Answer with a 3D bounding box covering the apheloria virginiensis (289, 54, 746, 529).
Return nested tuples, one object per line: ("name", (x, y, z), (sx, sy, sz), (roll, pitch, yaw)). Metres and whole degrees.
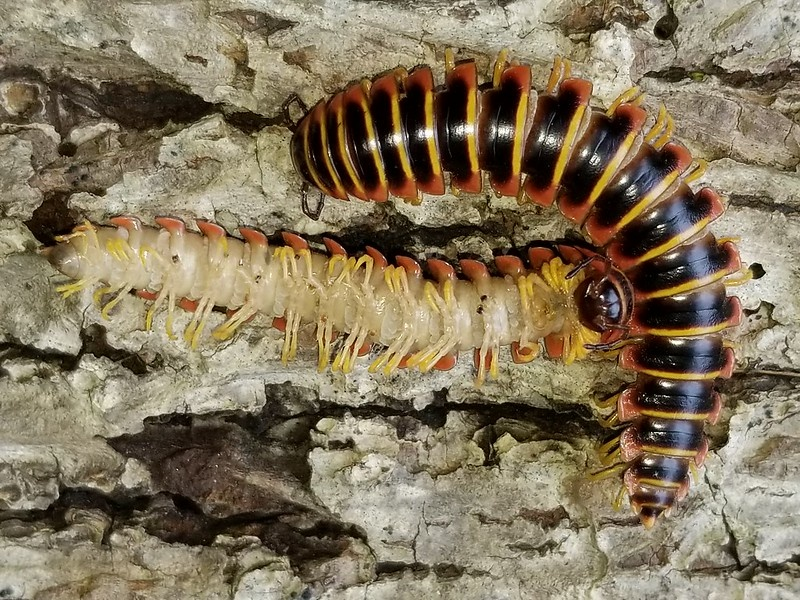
("apheloria virginiensis", (1.244, -0.599, 9.908), (3.533, 0.878, 2.537), (43, 101, -2))
